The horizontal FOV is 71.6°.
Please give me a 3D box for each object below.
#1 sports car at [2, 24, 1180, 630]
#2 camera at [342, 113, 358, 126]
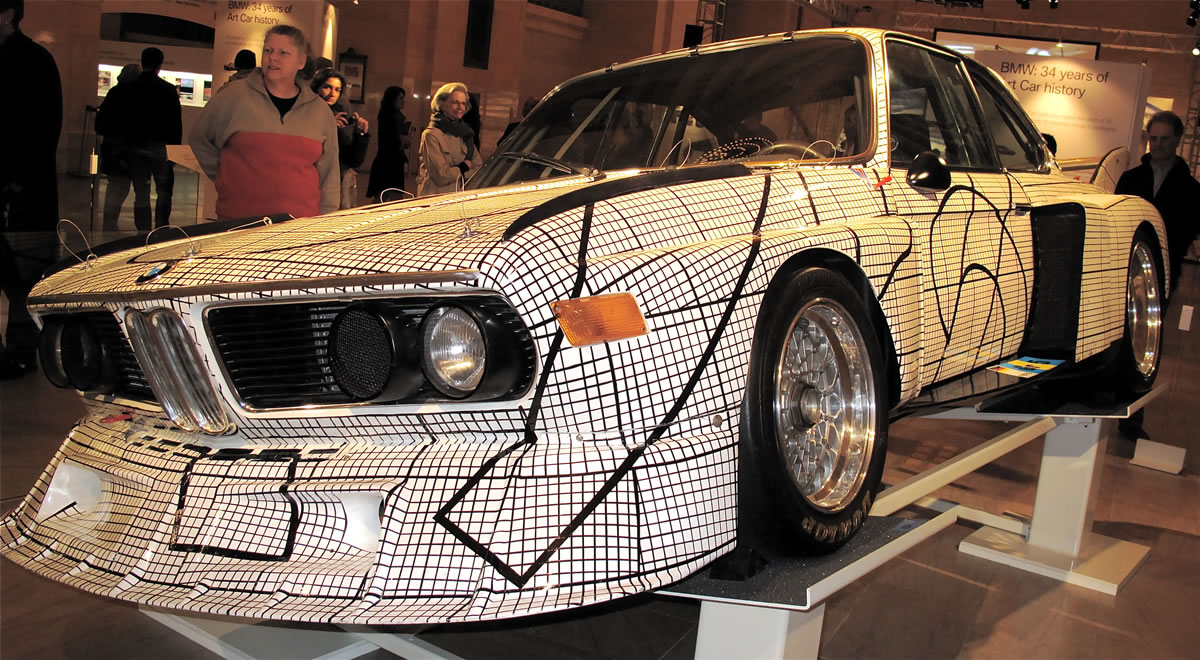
[{"bbox_3d":[0.825,-0.286,4.557,5.653,1.682,2.856,-5,4,-41],"label":"sports car"},{"bbox_3d":[-2.570,-2.169,8.486,0.167,0.071,0.217,19,8,-22],"label":"camera"}]
